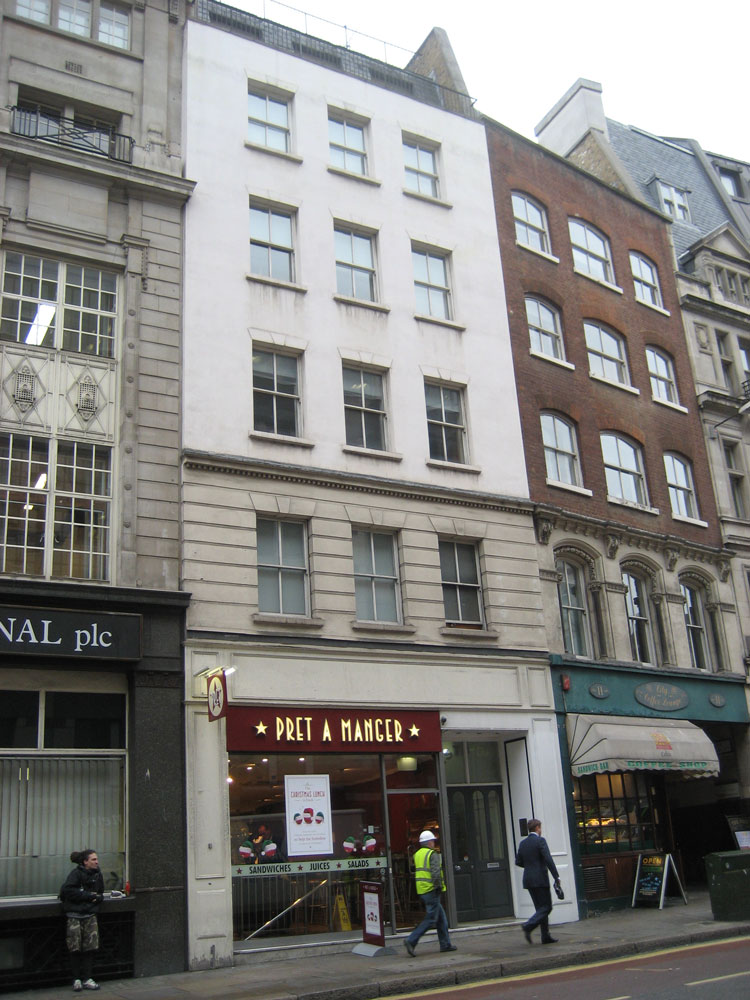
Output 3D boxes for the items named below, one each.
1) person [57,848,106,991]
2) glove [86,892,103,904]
[{"bbox_3d":[-3.675,5.250,10.803,0.510,1.566,0.633,3,-22,-22],"label":"person"},{"bbox_3d":[-3.567,5.076,10.995,0.162,0.151,0.116,3,-4,-32],"label":"glove"}]
